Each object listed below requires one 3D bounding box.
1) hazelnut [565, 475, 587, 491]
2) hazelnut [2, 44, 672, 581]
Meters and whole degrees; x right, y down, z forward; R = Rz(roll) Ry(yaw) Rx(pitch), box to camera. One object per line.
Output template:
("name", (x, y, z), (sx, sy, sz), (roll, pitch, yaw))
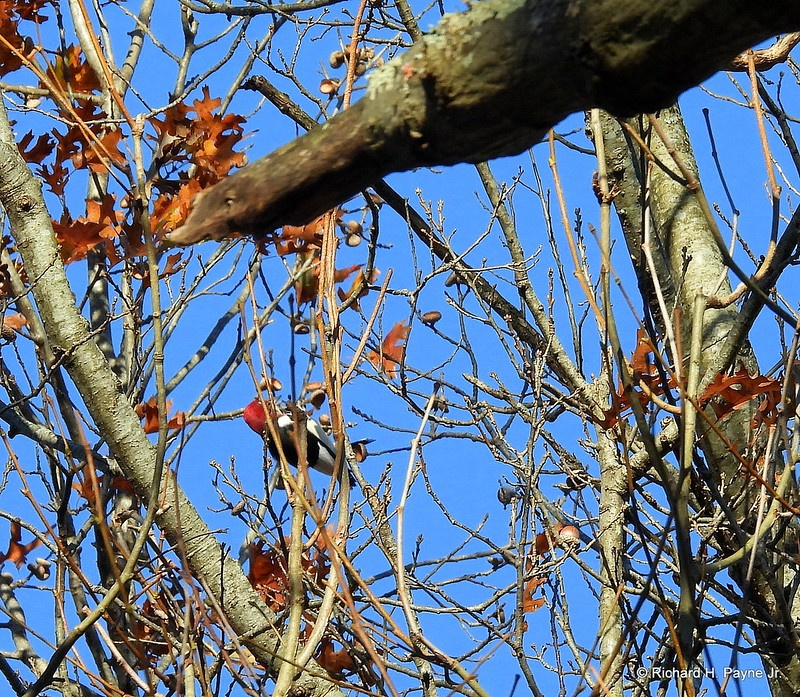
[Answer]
("hazelnut", (0.546, 0.433, 7.597), (0.088, 0.026, 0.101), (1, -22, -9))
("hazelnut", (0.141, -0.363, 7.756), (1.586, 1.777, 0.355), (-20, -33, -14))
